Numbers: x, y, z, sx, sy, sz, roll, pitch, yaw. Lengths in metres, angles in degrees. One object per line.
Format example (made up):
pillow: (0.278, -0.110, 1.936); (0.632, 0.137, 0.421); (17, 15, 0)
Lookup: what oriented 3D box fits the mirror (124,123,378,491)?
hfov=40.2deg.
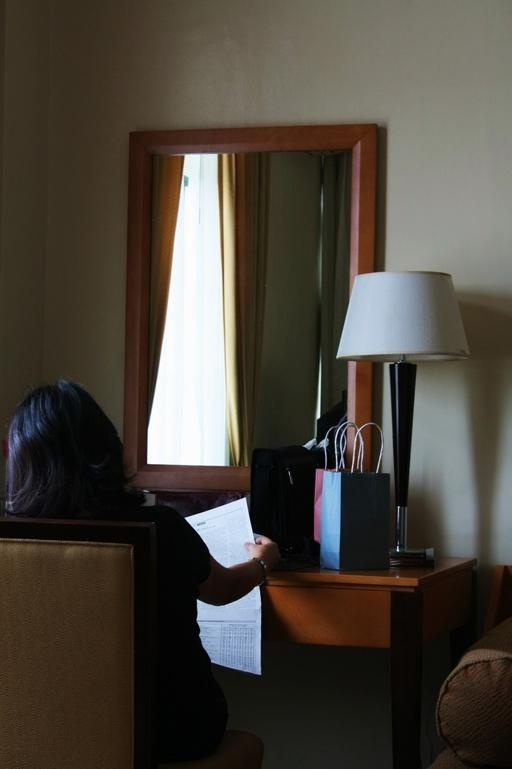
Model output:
mirror: (0.011, -0.181, 1.850); (0.589, 1.399, 0.039); (0, -1, 22)

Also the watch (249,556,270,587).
watch: (0.009, 0.348, 1.308); (0.032, 0.067, 0.016); (0, -8, 44)
